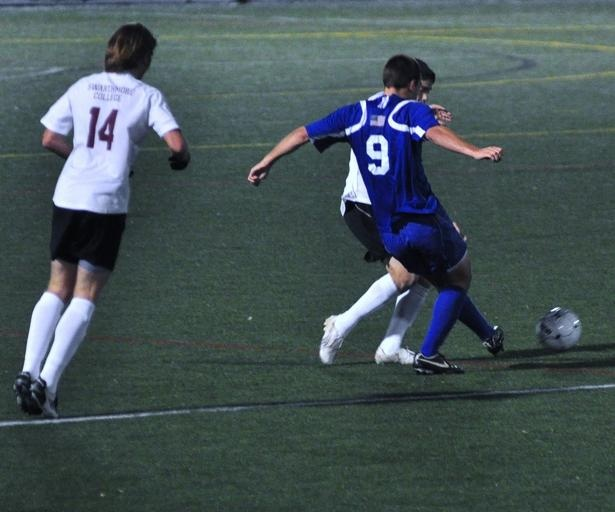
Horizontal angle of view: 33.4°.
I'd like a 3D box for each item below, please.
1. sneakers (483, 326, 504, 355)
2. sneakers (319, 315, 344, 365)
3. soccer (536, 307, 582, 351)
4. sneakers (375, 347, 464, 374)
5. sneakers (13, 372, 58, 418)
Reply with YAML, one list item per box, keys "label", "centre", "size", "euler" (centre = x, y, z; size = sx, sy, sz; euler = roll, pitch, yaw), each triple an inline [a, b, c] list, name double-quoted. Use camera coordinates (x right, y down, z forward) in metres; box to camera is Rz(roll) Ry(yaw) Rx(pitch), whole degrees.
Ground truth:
- label: "sneakers"
  centre: [1.108, 0.478, 5.967]
  size: [0.078, 0.097, 0.216]
  euler: [-6, 29, 37]
- label: "sneakers"
  centre: [0.153, 0.479, 5.829]
  size: [0.095, 0.253, 0.156]
  euler: [18, -13, -36]
- label: "soccer"
  centre: [1.534, 0.449, 6.147]
  size: [0.251, 0.248, 0.283]
  euler: [21, 79, 21]
- label: "sneakers"
  centre: [0.638, 0.589, 5.744]
  size: [0.512, 0.223, 0.171]
  euler: [3, -2, 10]
- label: "sneakers"
  centre: [-1.318, 0.700, 5.048]
  size: [0.122, 0.304, 0.146]
  euler: [-18, 54, -3]
